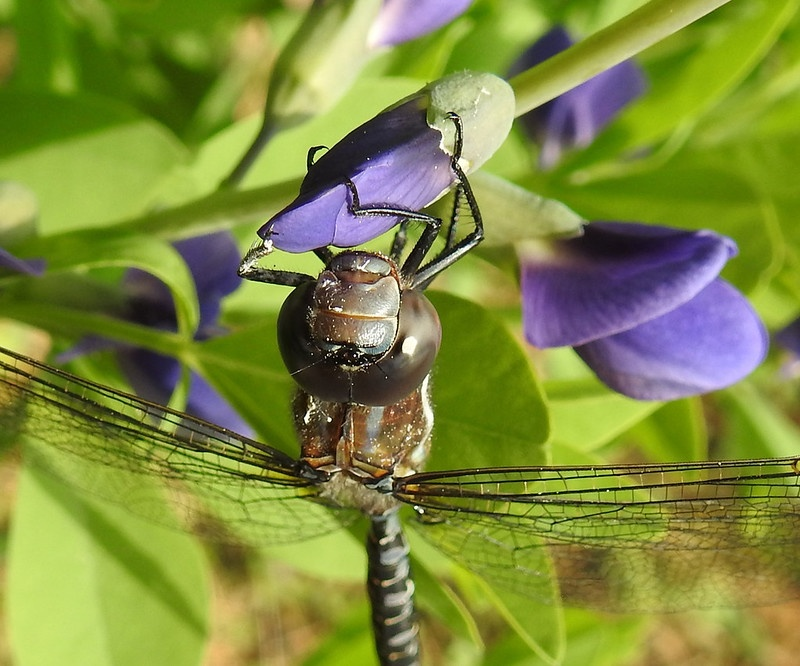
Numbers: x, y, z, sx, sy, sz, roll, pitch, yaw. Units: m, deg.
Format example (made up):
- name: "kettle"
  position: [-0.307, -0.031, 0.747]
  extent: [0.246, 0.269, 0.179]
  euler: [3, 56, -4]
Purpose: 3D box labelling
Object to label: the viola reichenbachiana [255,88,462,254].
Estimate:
- name: "viola reichenbachiana"
  position: [-0.031, -0.107, 0.677]
  extent: [0.129, 0.113, 0.138]
  euler: [-2, 31, -6]
